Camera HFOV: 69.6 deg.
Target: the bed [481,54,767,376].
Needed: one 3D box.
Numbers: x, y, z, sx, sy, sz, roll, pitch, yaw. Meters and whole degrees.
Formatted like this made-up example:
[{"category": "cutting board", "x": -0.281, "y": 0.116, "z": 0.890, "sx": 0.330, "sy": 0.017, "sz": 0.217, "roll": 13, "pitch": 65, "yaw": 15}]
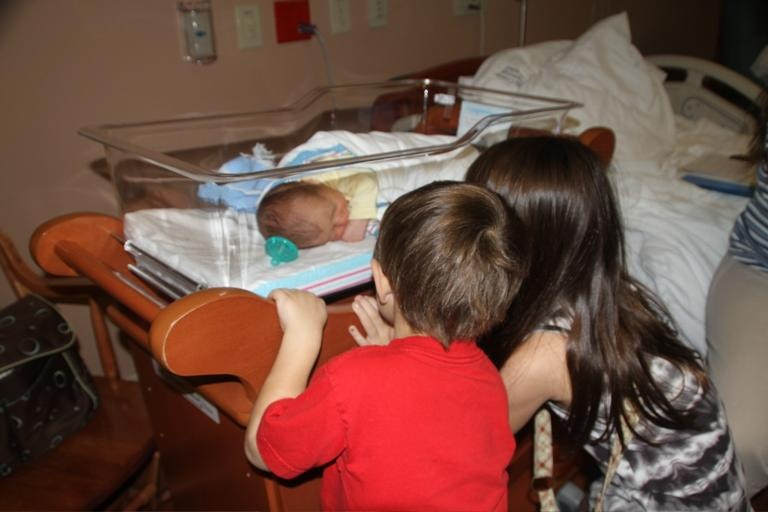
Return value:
[{"category": "bed", "x": 0.949, "y": -0.354, "z": 2.406, "sx": 0.918, "sy": 1.008, "sz": 1.533, "roll": 20, "pitch": 46, "yaw": 28}]
